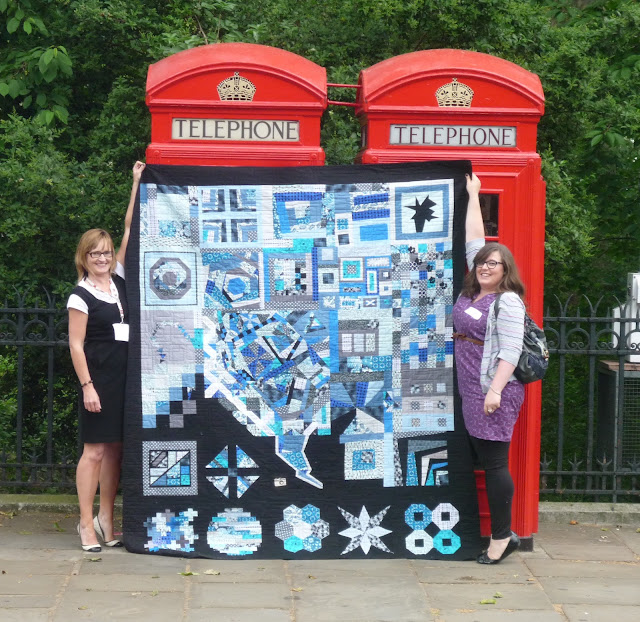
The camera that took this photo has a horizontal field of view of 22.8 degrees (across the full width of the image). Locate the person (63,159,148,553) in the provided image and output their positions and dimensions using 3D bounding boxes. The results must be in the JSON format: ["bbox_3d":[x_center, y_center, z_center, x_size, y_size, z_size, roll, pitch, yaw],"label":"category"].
[{"bbox_3d":[-1.429,0.311,10.875,0.584,2.649,0.369,-3,0,-16],"label":"person"}]

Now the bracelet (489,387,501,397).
[{"bbox_3d":[1.156,0.536,10.534,0.076,0.050,0.045,-2,0,5],"label":"bracelet"}]

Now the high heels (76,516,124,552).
[{"bbox_3d":[-1.525,1.562,10.862,0.220,0.287,0.100,-11,-42,-54],"label":"high heels"}]

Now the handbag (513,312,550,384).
[{"bbox_3d":[1.428,0.256,10.659,0.185,0.456,0.327,-3,0,26],"label":"handbag"}]

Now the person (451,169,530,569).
[{"bbox_3d":[1.189,0.629,10.685,0.336,2.458,0.507,-3,0,-32],"label":"person"}]

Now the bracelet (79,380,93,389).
[{"bbox_3d":[-1.566,0.495,10.682,0.071,0.055,0.058,-3,0,-2],"label":"bracelet"}]

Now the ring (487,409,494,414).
[{"bbox_3d":[1.138,0.673,10.584,0.043,0.030,0.045,-2,0,0],"label":"ring"}]

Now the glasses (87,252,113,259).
[{"bbox_3d":[-1.478,-0.370,10.750,0.177,0.072,0.061,-2,0,-20],"label":"glasses"}]

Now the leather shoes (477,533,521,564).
[{"bbox_3d":[1.223,1.642,10.819,0.309,0.118,0.146,-30,35,13],"label":"leather shoes"}]
